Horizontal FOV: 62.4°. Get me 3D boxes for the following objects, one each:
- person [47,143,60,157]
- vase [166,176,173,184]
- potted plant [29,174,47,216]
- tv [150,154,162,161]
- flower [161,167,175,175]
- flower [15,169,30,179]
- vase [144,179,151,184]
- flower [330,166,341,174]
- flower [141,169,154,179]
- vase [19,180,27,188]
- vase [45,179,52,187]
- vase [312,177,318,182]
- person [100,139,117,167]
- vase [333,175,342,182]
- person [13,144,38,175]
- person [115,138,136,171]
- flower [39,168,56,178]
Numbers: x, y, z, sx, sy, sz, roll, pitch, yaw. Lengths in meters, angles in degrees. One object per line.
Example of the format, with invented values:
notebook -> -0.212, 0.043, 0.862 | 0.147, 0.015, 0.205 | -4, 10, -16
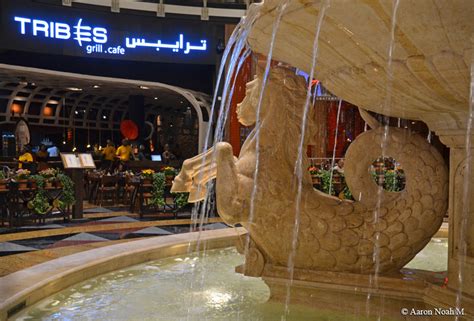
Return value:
person -> -9.054, -0.508, 19.017 | 0.671, 0.861, 0.483 | 0, 8, -15
vase -> -1.754, 0.492, 10.053 | 0.225, 0.219, 0.088 | -1, 1, -39
potted plant -> -4.311, 0.755, 8.426 | 0.331, 0.869, 0.458 | 0, 1, -20
tv -> -3.371, -0.111, 16.244 | 0.562, 0.278, 0.516 | 3, 6, -25
flower -> -1.809, 0.276, 10.216 | 0.278, 0.192, 0.280 | 0, 0, 24
flower -> -4.593, 0.290, 8.253 | 0.248, 0.170, 0.241 | -2, -2, 18
vase -> -2.280, 0.534, 9.787 | 0.193, 0.130, 0.101 | 1, -8, -4
flower -> 2.614, 0.255, 10.263 | 0.314, 0.220, 0.316 | 0, -2, 11
flower -> -2.323, 0.333, 10.014 | 0.314, 0.218, 0.316 | 1, 2, 25
vase -> -4.499, 0.496, 8.140 | 0.158, 0.116, 0.154 | 1, -6, -13
vase -> -4.191, 0.499, 8.652 | 0.184, 0.178, 0.153 | 0, -4, -21
vase -> 2.065, 0.507, 10.271 | 0.159, 0.126, 0.286 | 0, 1, 13
person -> -4.744, -0.236, 14.314 | 0.492, 1.011, 0.725 | 0, 1, -19
vase -> 2.637, 0.465, 10.290 | 0.235, 0.180, 0.190 | 1, -8, -9
person -> -6.165, -0.042, 11.310 | 0.532, 0.855, 1.162 | 0, 1, -28
person -> -4.000, -0.217, 13.697 | 0.599, 1.124, 2.035 | 0, 1, -15
flower -> -4.260, 0.281, 8.764 | 0.301, 0.179, 0.337 | 7, 9, 43
